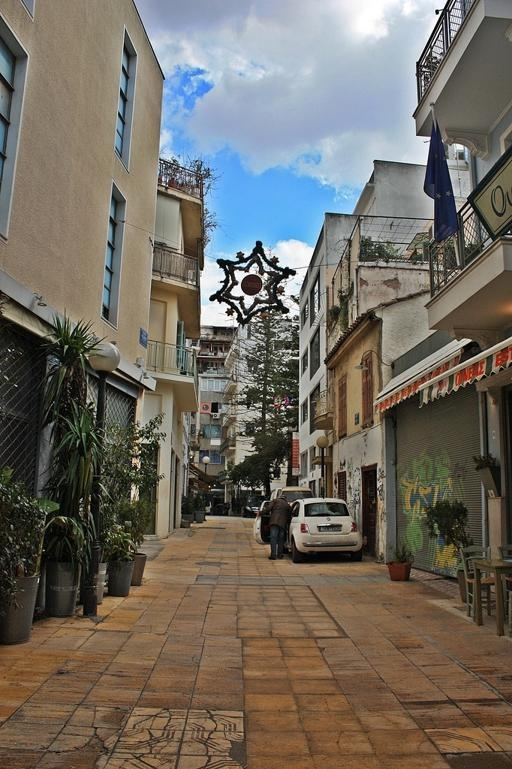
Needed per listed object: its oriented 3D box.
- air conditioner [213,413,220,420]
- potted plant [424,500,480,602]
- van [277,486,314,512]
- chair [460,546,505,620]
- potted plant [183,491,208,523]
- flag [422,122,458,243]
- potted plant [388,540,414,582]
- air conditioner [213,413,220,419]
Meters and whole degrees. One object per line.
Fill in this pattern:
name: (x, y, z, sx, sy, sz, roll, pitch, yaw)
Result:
air conditioner: (-4.505, 3.700, 61.843, 0.615, 0.572, 0.665, 1, -12, -6)
potted plant: (3.297, 2.699, 8.780, 0.561, 1.705, 0.677, 0, -14, -38)
van: (1.392, 4.682, 21.068, 1.155, 1.210, 2.193, 3, -4, -8)
chair: (2.891, 2.364, 6.720, 0.494, 0.862, 0.551, -17, -37, 18)
potted plant: (-3.500, 6.933, 30.117, 1.375, 2.088, 1.805, -3, -12, 13)
flag: (2.914, -3.476, 8.645, 0.327, 2.293, 0.235, 0, -8, 7)
potted plant: (2.831, 3.522, 10.637, 0.563, 0.948, 0.592, 1, -18, 4)
air conditioner: (-4.494, 3.684, 61.788, 0.519, 0.492, 0.572, 1, -10, -3)
